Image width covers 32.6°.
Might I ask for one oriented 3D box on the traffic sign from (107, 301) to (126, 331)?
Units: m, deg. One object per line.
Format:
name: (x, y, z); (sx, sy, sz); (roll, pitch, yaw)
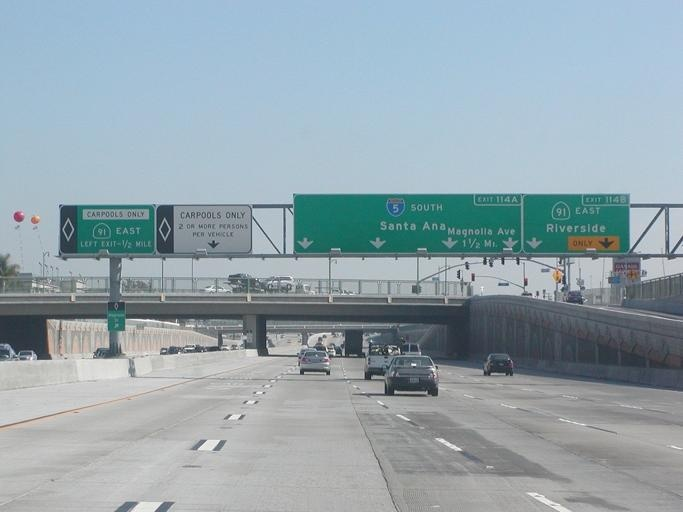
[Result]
traffic sign: (-11.931, 3.160, 61.153); (0.798, 1.455, 1.232); (0, -4, -19)

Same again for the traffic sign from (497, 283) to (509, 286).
traffic sign: (14.402, 2.573, 103.155); (1.075, 0.293, 1.224); (1, -2, -4)
